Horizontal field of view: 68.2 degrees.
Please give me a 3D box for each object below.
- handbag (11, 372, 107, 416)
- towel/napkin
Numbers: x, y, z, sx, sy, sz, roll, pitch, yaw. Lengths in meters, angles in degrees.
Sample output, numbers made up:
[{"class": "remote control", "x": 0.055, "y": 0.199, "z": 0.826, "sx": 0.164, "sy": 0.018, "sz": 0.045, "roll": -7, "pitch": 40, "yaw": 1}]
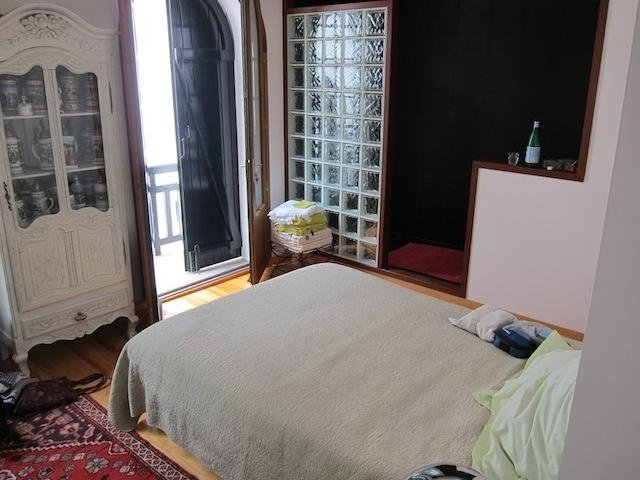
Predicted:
[{"class": "handbag", "x": -1.647, "y": 0.955, "z": 2.966, "sx": 0.193, "sy": 0.055, "sz": 0.333, "roll": 28, "pitch": 23, "yaw": 38}, {"class": "towel/napkin", "x": -0.205, "y": -0.165, "z": 4.491, "sx": 0.521, "sy": 0.373, "sz": 0.519, "roll": 16, "pitch": 25, "yaw": 34}]
